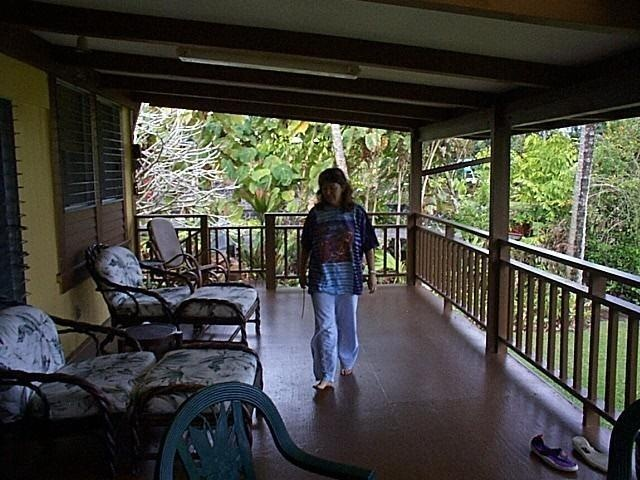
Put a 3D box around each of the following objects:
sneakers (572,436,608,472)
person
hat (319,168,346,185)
[{"bbox_3d":[1.764,1.396,2.991,0.128,0.052,0.299,0,6,-2],"label":"sneakers"},{"bbox_3d":[0.168,0.318,3.957,0.632,1.870,0.447,-3,10,-15],"label":"person"},{"bbox_3d":[0.109,-0.526,3.774,0.134,0.168,0.178,0,4,12],"label":"hat"}]
